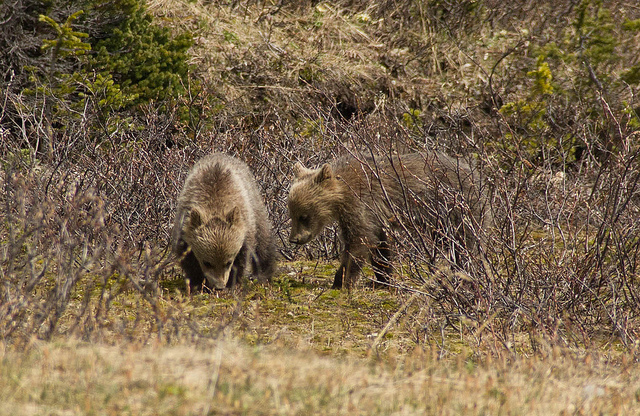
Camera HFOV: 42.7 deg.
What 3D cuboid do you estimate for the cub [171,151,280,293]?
[{"bbox_3d":[-1.339,0.367,12.010,1.332,1.919,1.571,13,22,19],"label":"cub"}]
